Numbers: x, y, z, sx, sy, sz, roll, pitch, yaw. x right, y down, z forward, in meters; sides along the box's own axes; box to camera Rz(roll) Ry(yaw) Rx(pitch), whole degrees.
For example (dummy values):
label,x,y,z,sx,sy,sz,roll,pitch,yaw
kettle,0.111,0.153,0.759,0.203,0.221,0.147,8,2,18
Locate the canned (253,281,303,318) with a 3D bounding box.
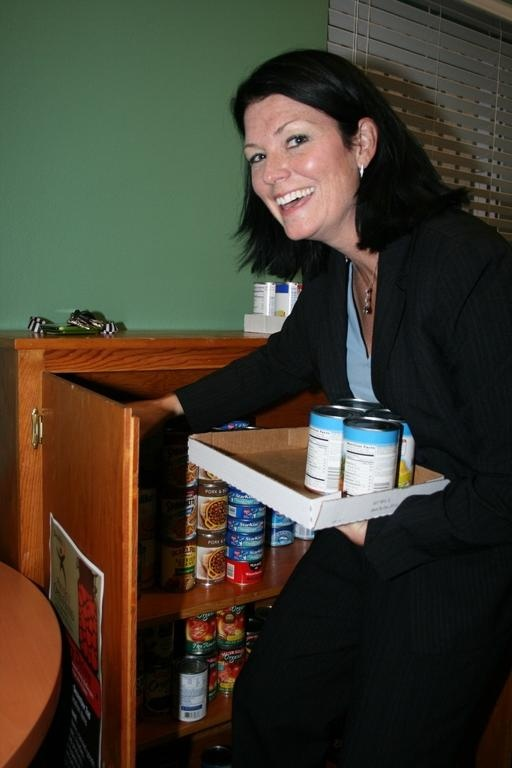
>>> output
label,x,y,z,sx,sy,sz,roll,pitch,yaw
canned,0.048,-0.213,1.553,0.090,0.107,0.157,4,3,-39
